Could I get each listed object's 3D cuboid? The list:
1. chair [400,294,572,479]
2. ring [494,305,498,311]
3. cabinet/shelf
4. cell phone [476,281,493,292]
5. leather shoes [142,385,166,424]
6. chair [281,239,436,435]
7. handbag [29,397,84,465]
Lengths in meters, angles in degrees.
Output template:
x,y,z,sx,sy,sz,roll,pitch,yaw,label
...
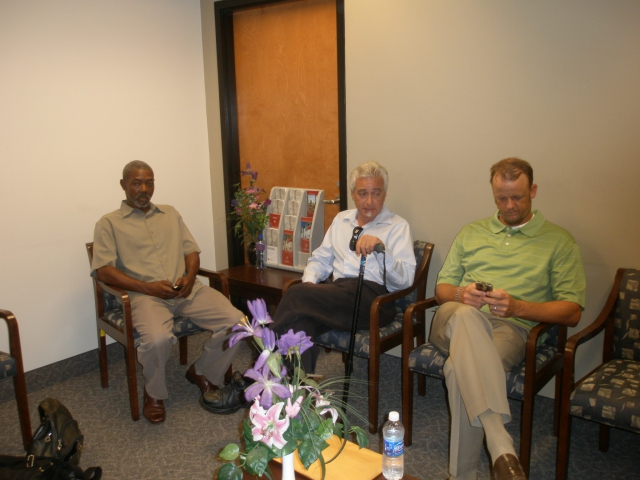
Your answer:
x,y,z,sx,sy,sz,roll,pitch,yaw,label
0.963,0.734,3.076,0.842,1.541,0.915,1,-2,35,chair
0.973,0.377,2.708,0.024,0.027,0.006,-7,-10,41,ring
-0.200,-0.064,4.040,0.556,0.793,0.240,7,10,32,cabinet/shelf
0.912,0.263,2.721,0.084,0.049,0.080,5,5,9,cell phone
-1.085,1.089,3.208,0.141,0.190,0.156,-6,13,-18,leather shoes
0.347,0.525,3.542,0.886,1.603,1.029,4,5,38,chair
-1.453,1.074,2.707,0.149,0.211,0.280,-28,37,10,handbag
